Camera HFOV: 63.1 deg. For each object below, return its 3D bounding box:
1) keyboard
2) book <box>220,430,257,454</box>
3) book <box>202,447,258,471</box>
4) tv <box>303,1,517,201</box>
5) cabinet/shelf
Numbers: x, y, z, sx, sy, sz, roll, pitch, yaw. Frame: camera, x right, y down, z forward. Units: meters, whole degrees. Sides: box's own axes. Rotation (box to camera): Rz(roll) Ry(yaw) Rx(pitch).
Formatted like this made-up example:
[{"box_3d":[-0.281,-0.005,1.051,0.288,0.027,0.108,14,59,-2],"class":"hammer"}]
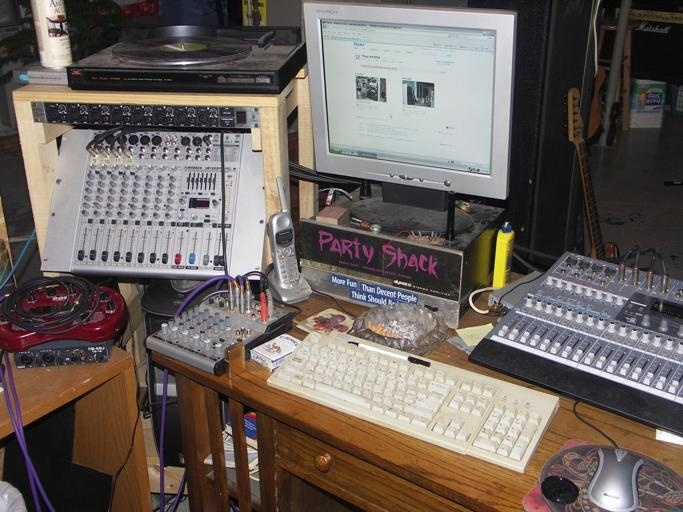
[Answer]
[{"box_3d":[0.158,0.331,1.347,0.666,0.122,0.210,8,25,24],"class":"keyboard"},{"box_3d":[-0.345,0.593,1.811,0.131,0.030,0.128,6,14,0],"class":"book"},{"box_3d":[-0.336,0.628,1.755,0.117,0.026,0.117,1,15,11],"class":"book"},{"box_3d":[0.194,-0.440,1.569,0.697,0.561,0.068,10,36,23],"class":"tv"},{"box_3d":[-0.537,-0.101,2.263,1.298,1.206,0.939,5,35,8],"class":"cabinet/shelf"}]
